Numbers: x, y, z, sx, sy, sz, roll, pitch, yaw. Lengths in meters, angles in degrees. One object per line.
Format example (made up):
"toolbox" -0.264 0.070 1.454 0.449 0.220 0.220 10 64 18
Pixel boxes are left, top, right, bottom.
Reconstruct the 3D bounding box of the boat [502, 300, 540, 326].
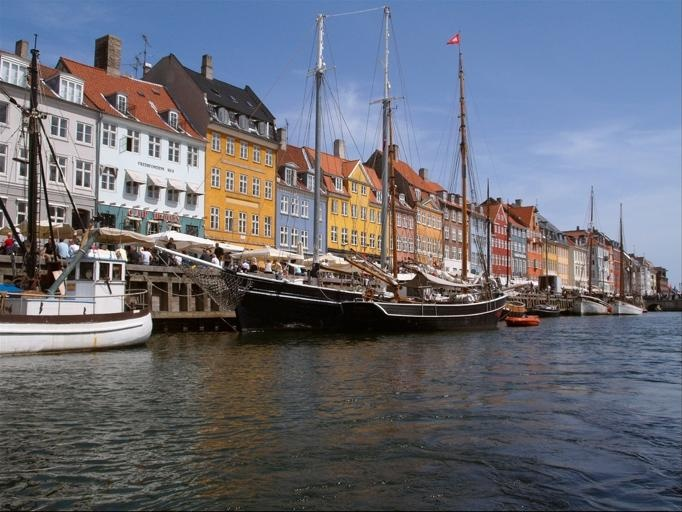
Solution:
"boat" 13.607 4.520 55.686 1.879 1.425 6.664 0 -6 22
